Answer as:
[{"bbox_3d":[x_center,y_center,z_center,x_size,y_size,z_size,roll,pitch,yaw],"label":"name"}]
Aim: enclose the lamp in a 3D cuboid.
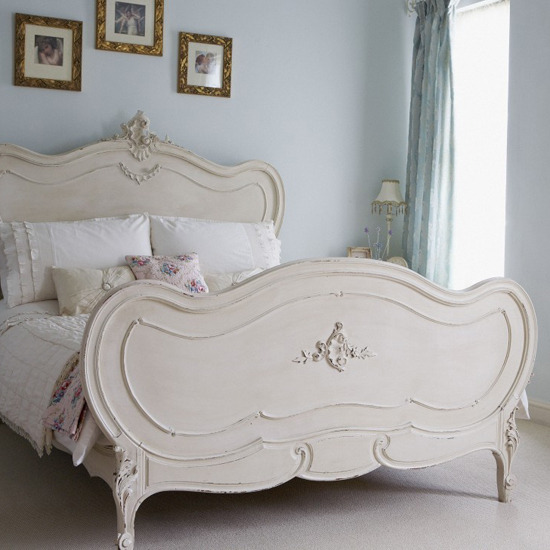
[{"bbox_3d":[0.791,-0.345,4.134,0.150,0.557,0.158,11,10,38],"label":"lamp"}]
